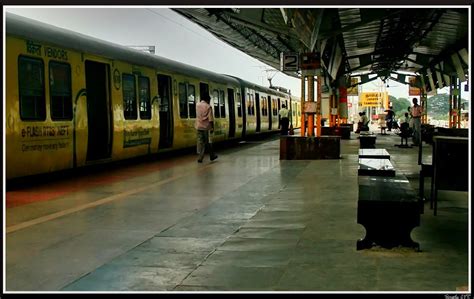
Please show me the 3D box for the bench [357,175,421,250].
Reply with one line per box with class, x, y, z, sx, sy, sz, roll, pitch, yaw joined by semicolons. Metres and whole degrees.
bench;2.128;0.887;4.708;0.780;0.763;1.041;1;7;19
